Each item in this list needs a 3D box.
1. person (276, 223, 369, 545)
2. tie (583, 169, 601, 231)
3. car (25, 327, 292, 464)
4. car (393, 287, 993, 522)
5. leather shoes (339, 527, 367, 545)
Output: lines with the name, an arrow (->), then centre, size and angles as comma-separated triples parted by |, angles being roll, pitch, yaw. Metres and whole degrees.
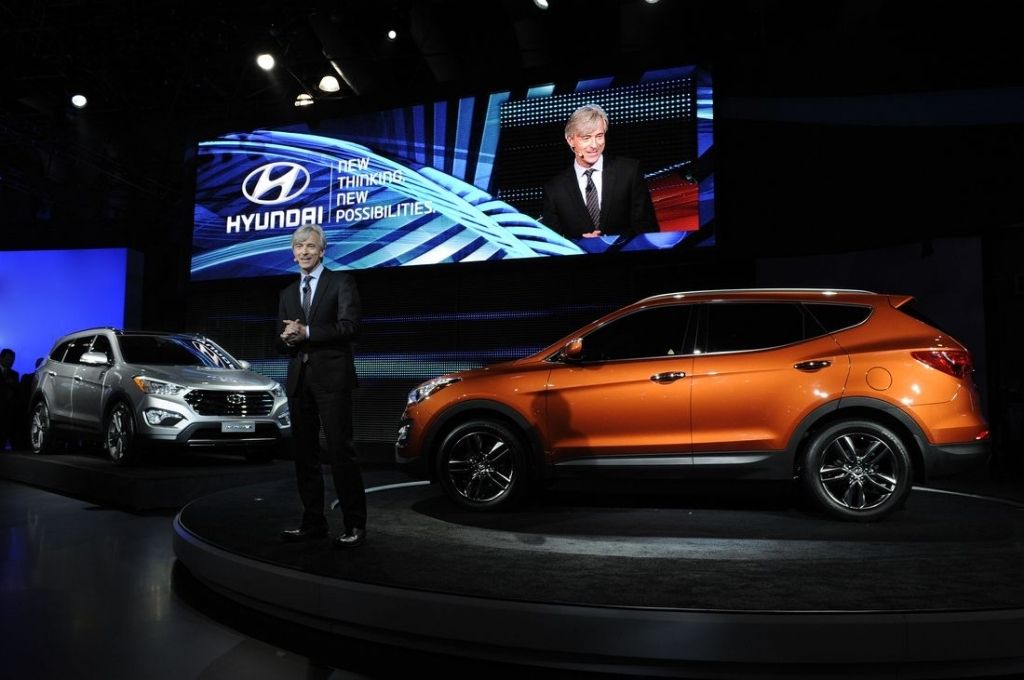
person -> -1.485, 0.323, 5.267 | 0.602, 2.482, 0.577 | -2, 1, -18
tie -> 1.136, -1.971, 9.431 | 0.190, 0.878, 0.063 | -6, -12, 10
car -> -4.694, 0.786, 8.849 | 3.778, 1.297, 1.925 | -6, -10, 37
car -> 1.590, 0.584, 6.963 | 5.177, 1.748, 2.184 | 1, -8, 8
leather shoes -> -1.199, 1.499, 5.151 | 0.193, 0.089, 0.080 | -4, 1, -39
